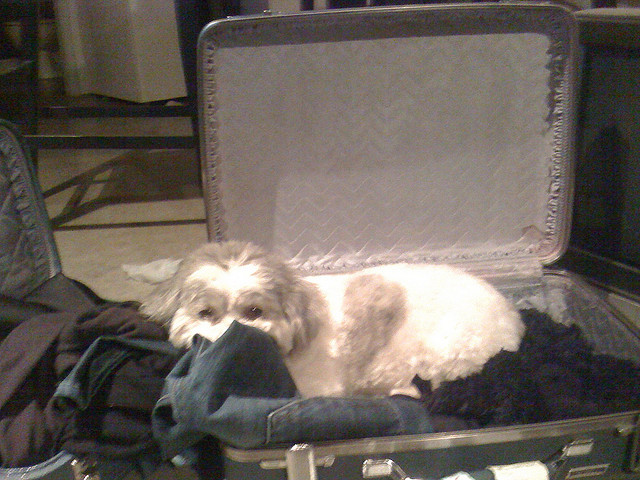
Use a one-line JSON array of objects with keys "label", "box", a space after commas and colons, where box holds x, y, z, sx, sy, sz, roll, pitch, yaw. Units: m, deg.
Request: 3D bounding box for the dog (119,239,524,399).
[{"label": "dog", "box": [0.073, 0.154, 1.388, 0.818, 0.186, 0.321, 1, -4, -25]}]
